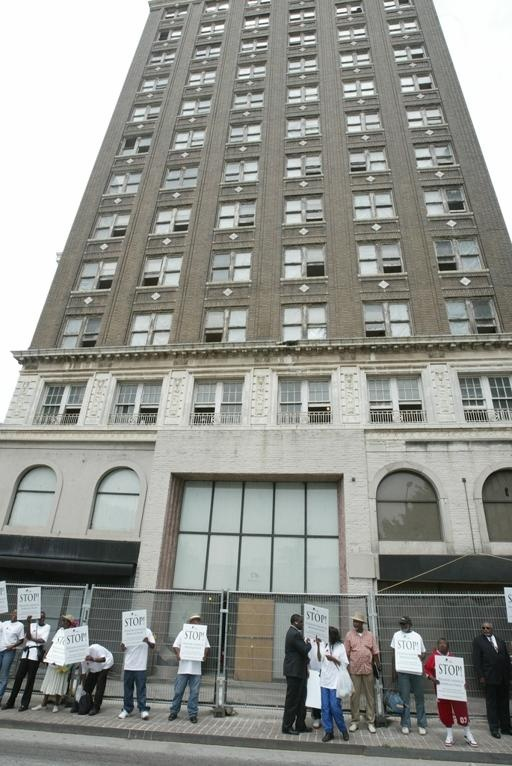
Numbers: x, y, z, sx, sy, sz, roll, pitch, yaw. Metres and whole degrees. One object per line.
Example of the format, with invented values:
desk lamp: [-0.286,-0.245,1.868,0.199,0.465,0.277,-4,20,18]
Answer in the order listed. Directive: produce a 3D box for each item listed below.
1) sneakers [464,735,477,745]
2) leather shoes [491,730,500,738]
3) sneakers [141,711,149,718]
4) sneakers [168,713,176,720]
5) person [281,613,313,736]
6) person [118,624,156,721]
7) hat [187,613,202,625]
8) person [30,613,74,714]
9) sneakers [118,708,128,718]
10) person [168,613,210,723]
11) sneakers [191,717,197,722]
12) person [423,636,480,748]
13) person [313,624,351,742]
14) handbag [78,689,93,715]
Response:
sneakers: [3.067,5.135,6.664,0.078,0.092,0.233,4,-7,-6]
leather shoes: [3.674,5.378,7.124,0.069,0.048,0.122,2,-20,-9]
sneakers: [-1.843,5.538,7.734,0.070,0.082,0.193,4,-11,-7]
sneakers: [-1.377,5.526,7.693,0.125,0.089,0.181,9,-28,-8]
person: [0.614,4.570,7.151,0.388,1.448,0.778,2,-28,5]
person: [-2.049,5.026,8.085,0.599,1.360,0.778,8,-28,-6]
hat: [-1.074,4.146,8.242,0.224,0.107,0.322,6,-25,-5]
person: [-3.556,5.042,8.393,0.506,1.493,1.777,12,-29,-15]
sneakers: [-2.240,5.605,7.875,0.170,0.119,0.301,6,-28,-3]
person: [-1.138,4.854,7.998,0.613,1.588,1.045,6,-28,-4]
sneakers: [-1.012,5.472,7.563,0.113,0.085,0.149,7,-28,-5]
person: [2.989,4.762,7.270,0.645,1.322,1.209,-5,-29,18]
person: [1.165,4.560,7.110,0.482,1.459,0.498,0,-28,8]
handbag: [-2.950,5.569,8.126,0.214,0.392,0.328,-6,-42,-10]
